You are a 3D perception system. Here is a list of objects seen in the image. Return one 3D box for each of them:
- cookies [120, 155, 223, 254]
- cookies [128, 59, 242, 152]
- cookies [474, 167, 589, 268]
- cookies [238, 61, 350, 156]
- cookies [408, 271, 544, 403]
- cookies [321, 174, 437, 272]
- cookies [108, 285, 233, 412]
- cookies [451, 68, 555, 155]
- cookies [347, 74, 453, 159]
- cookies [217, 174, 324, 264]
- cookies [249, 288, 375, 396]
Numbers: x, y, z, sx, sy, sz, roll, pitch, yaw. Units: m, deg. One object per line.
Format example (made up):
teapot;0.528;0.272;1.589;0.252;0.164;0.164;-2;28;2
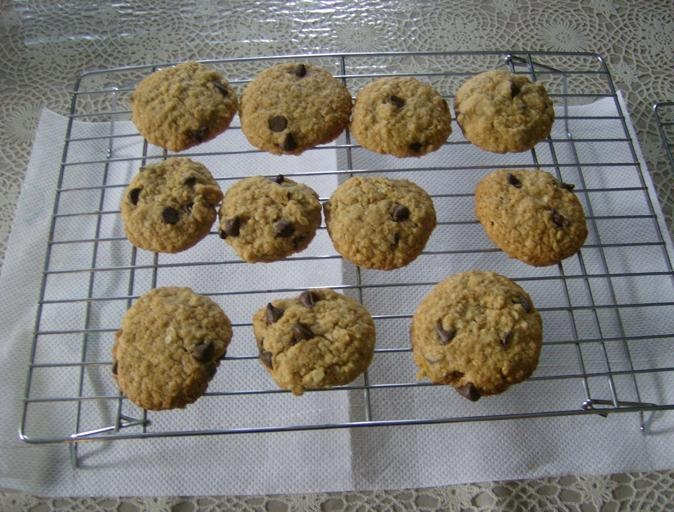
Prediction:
cookies;-0.461;-0.141;1.806;0.278;0.117;0.235;-30;70;-14
cookies;-0.431;-0.453;1.895;0.312;0.102;0.306;-23;62;-4
cookies;0.540;-0.101;1.827;0.308;0.343;0.117;19;56;10
cookies;-0.127;-0.425;1.875;0.307;0.118;0.261;-28;70;-13
cookies;0.357;0.217;1.761;0.328;0.258;0.329;25;68;9
cookies;0.103;-0.095;1.775;0.282;0.103;0.229;1;66;-1
cookies;-0.441;0.233;1.704;0.270;0.109;0.308;26;68;10
cookies;0.503;-0.367;1.887;0.254;0.241;0.074;-2;74;-17
cookies;0.177;-0.374;1.912;0.281;0.208;0.232;6;67;1
cookies;-0.183;-0.110;1.773;0.268;0.102;0.220;-5;67;-4
cookies;-0.054;0.204;1.665;0.291;0.079;0.245;-18;68;-9
